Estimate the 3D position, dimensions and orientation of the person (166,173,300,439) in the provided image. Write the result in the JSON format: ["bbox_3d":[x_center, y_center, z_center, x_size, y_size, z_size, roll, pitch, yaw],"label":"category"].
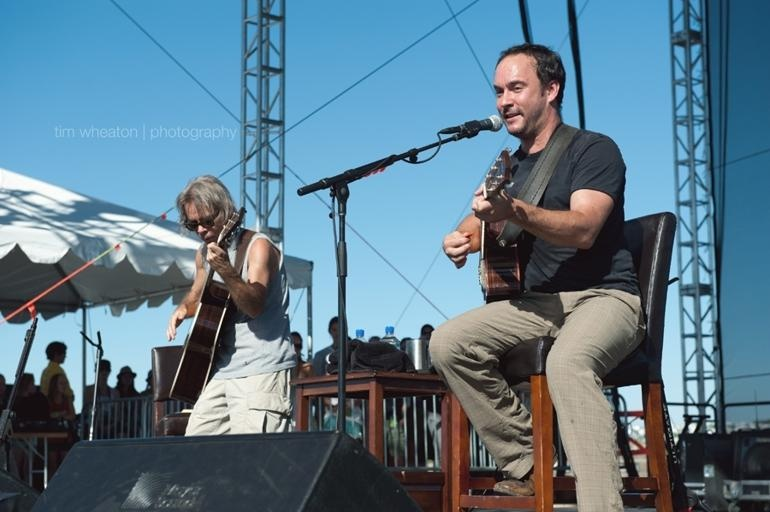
[{"bbox_3d":[-1.273,0.565,11.523,1.183,2.813,0.923,2,-18,-7],"label":"person"}]

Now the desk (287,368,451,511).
[{"bbox_3d":[0.295,2.138,12.612,1.308,2.106,1.597,8,-13,-44],"label":"desk"}]

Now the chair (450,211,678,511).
[{"bbox_3d":[1.765,1.005,10.731,2.005,3.454,1.828,14,-22,-33],"label":"chair"}]

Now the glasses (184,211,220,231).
[{"bbox_3d":[-1.617,-0.352,11.532,0.205,0.218,0.072,-13,-62,28],"label":"glasses"}]
